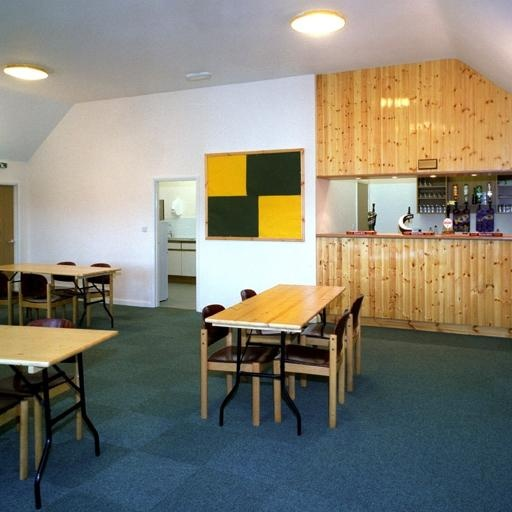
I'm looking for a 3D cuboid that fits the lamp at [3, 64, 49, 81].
[{"bbox_3d":[-3.092,-2.464,6.040,0.484,0.116,0.341,-1,4,-10],"label":"lamp"}]

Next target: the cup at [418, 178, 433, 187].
[{"bbox_3d":[3.603,-1.550,9.584,0.153,0.175,0.079,-1,-6,13],"label":"cup"}]

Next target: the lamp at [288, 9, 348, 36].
[{"bbox_3d":[0.616,-2.330,4.515,0.539,0.089,0.354,1,4,7],"label":"lamp"}]

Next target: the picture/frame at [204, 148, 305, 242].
[{"bbox_3d":[-0.045,-0.905,6.873,1.586,1.324,0.089,1,3,21],"label":"picture/frame"}]

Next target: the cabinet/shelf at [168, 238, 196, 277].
[{"bbox_3d":[-1.702,0.072,10.639,0.740,0.865,0.438,2,6,11],"label":"cabinet/shelf"}]

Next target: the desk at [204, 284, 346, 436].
[{"bbox_3d":[0.195,0.790,3.736,0.774,0.810,1.576,1,4,17],"label":"desk"}]
